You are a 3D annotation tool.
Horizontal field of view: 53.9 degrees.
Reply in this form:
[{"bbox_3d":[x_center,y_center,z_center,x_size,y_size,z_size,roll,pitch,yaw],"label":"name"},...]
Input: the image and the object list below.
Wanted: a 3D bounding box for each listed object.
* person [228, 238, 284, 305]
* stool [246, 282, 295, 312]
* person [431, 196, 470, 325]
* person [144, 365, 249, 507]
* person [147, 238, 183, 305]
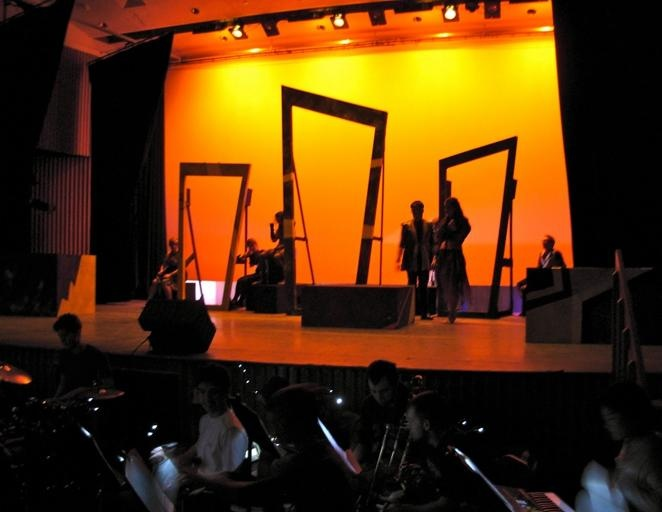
[{"bbox_3d":[-1.095,0.234,9.977,0.793,1.086,0.478,5,10,15],"label":"person"},{"bbox_3d":[-0.896,0.609,9.189,0.449,0.318,0.475,-1,-3,20],"label":"stool"},{"bbox_3d":[1.378,0.055,7.414,0.367,1.414,0.340,0,12,12],"label":"person"},{"bbox_3d":[-1.008,1.328,5.206,0.788,1.529,0.809,3,-2,-13],"label":"person"},{"bbox_3d":[-2.529,0.216,9.865,0.471,0.821,0.845,-6,12,-15],"label":"person"}]
